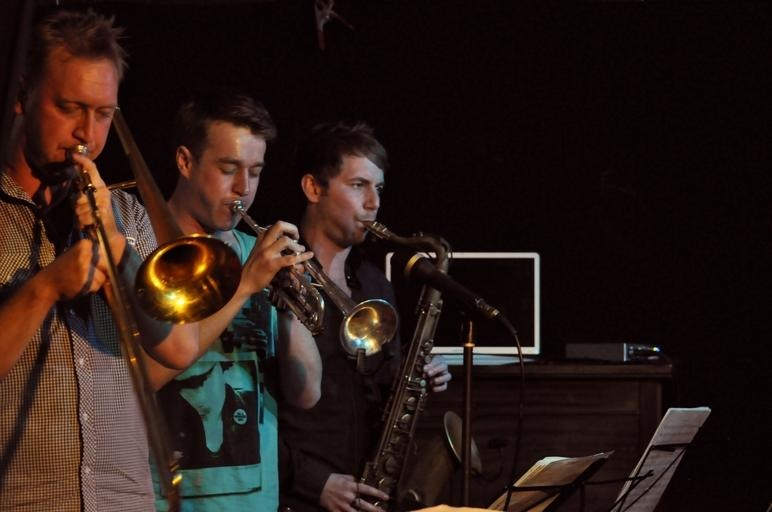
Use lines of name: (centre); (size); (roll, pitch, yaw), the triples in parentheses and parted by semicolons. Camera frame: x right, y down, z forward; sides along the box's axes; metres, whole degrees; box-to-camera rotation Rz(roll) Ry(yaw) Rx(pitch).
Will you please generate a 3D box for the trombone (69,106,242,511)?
trombone: (-0.795, 0.020, 2.731); (0.418, 0.417, 1.727); (-8, 34, -21)
